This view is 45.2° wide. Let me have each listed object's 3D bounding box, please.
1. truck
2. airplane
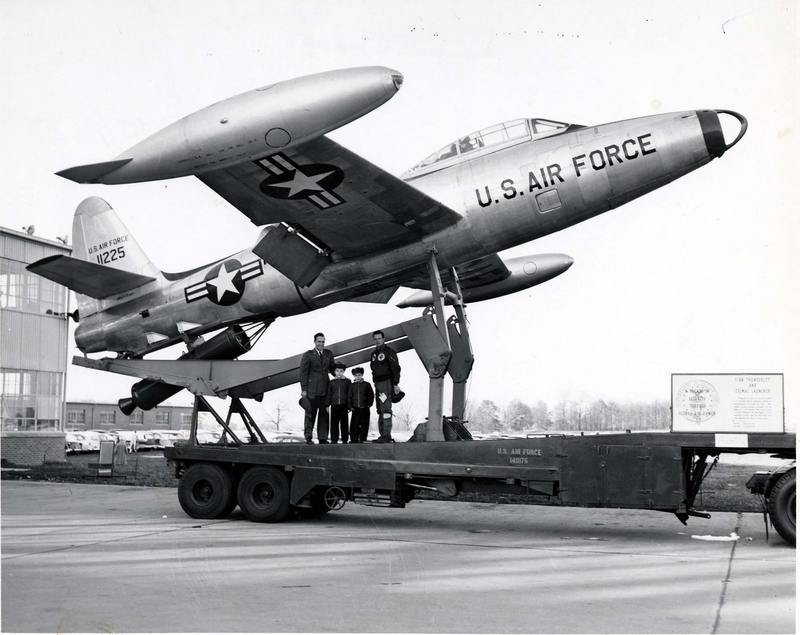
[{"bbox_3d":[1.167,2.199,13.978,11.125,1.667,2.728,-2,-6,21],"label":"truck"},{"bbox_3d":[-0.719,-0.712,13.891,10.151,4.381,6.174,-1,-3,17],"label":"airplane"}]
